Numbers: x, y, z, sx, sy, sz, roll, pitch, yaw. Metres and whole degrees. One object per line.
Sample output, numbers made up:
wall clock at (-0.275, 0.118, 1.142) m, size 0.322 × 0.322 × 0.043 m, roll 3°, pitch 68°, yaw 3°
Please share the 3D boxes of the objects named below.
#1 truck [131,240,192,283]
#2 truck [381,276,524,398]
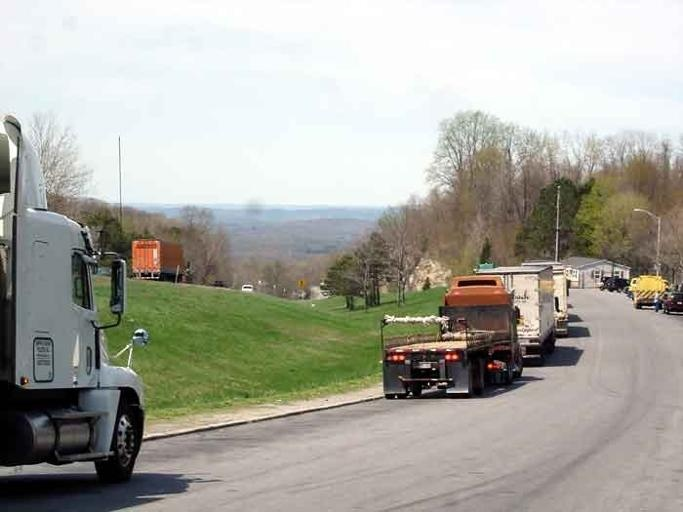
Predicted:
truck at (-12.297, 0.522, 70.080) m, size 1.576 × 3.152 × 5.391 m, roll -1°, pitch -1°, yaw 11°
truck at (3.972, 2.501, 33.598) m, size 2.591 × 3.813 × 8.235 m, roll -3°, pitch -3°, yaw 25°
